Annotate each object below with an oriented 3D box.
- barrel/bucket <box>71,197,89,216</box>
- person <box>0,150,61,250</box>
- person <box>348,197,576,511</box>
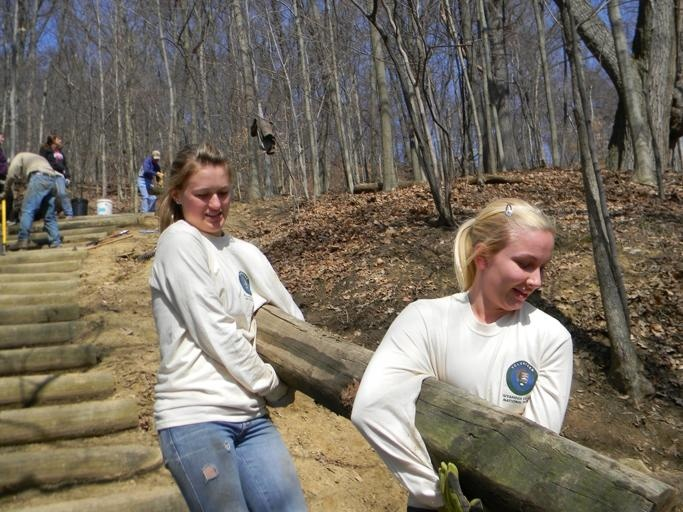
[{"bbox_3d":[-7.590,-1.450,14.107,0.386,0.567,0.673,-2,1,-30],"label":"barrel/bucket"},{"bbox_3d":[-5.942,-1.137,9.366,0.910,1.972,1.343,-2,1,-32],"label":"person"},{"bbox_3d":[0.666,0.479,2.610,1.136,1.596,0.492,-2,2,-23],"label":"person"}]
